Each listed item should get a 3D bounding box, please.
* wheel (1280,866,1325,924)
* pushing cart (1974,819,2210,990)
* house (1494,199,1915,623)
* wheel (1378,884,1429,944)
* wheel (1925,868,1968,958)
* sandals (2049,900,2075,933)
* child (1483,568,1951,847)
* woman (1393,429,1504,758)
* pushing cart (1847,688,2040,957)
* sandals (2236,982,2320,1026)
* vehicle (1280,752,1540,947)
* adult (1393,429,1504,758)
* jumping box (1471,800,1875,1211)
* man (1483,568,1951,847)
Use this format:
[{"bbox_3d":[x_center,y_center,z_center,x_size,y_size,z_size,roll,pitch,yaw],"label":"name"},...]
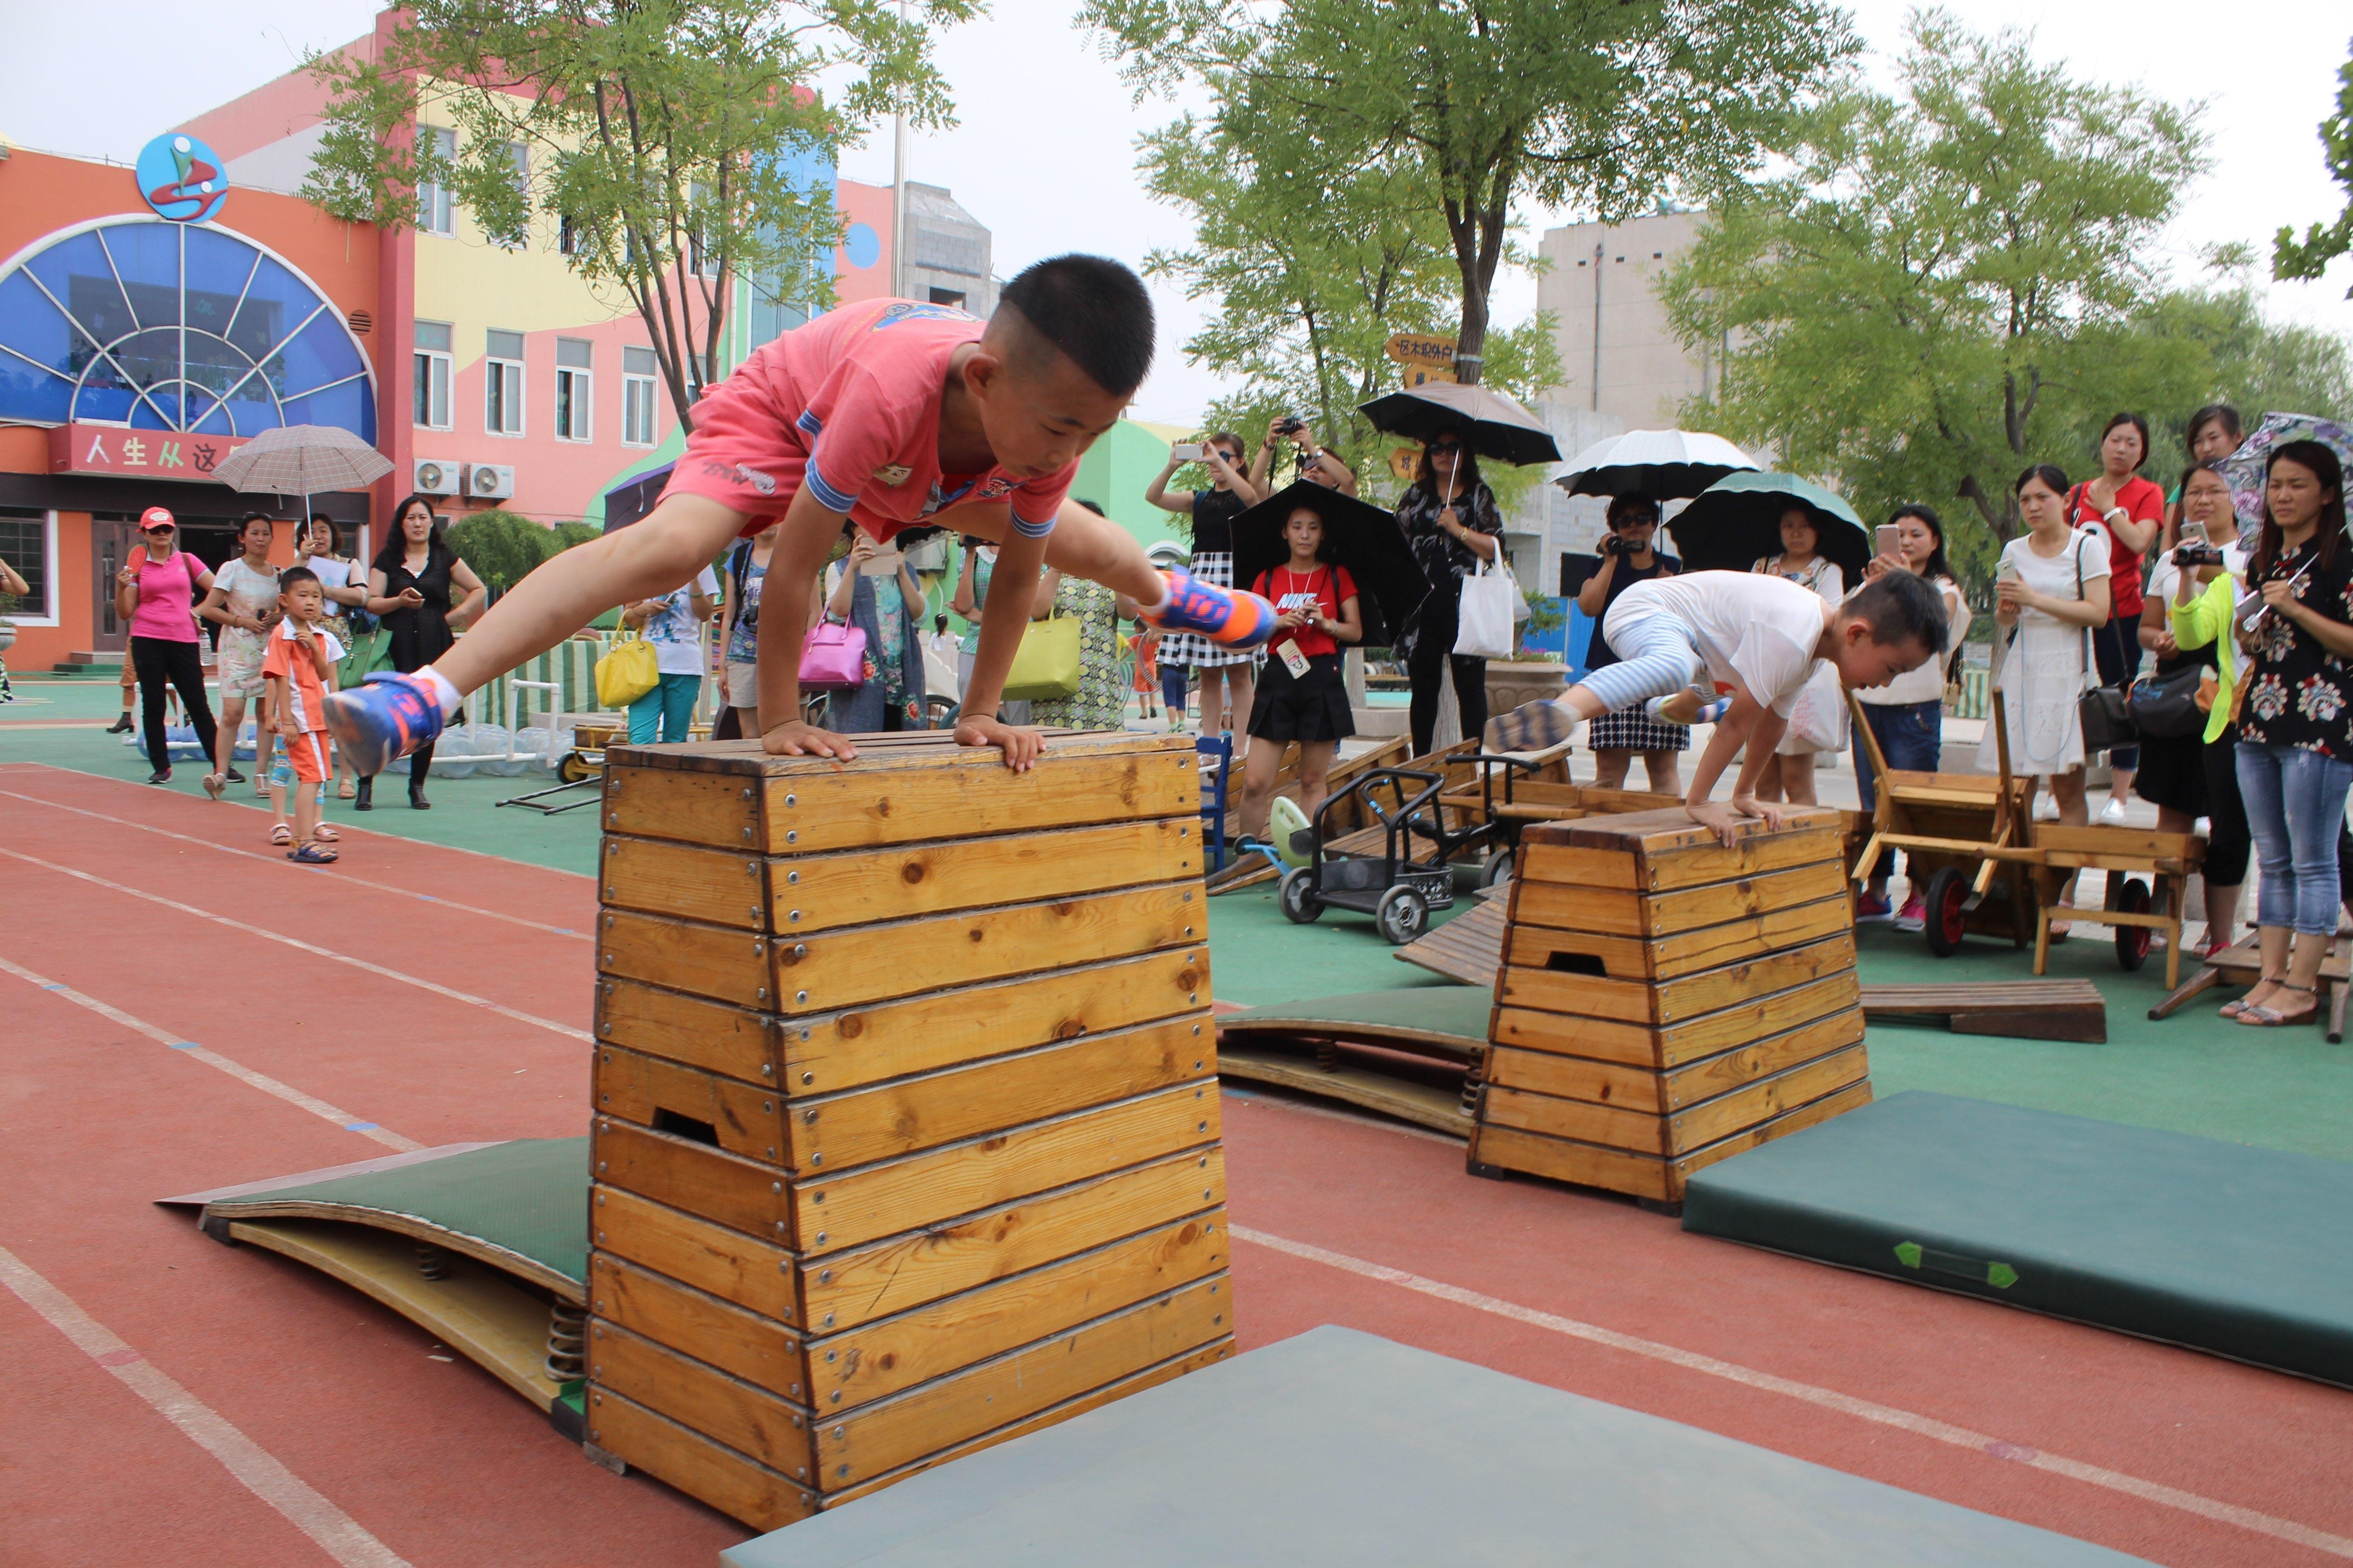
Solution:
[{"bbox_3d":[0.756,0.665,9.549,0.352,0.336,0.144,-1,9,-32],"label":"wheel"},{"bbox_3d":[4.869,0.616,8.421,1.090,0.686,0.781,0,2,18],"label":"pushing cart"},{"bbox_3d":[17.623,-13.433,59.681,7.625,13.866,7.810,0,-23,18],"label":"house"},{"bbox_3d":[1.271,0.733,8.987,0.270,0.261,0.067,-26,16,-26],"label":"wheel"},{"bbox_3d":[4.285,0.709,8.822,0.101,0.361,0.395,31,26,31],"label":"wheel"},{"bbox_3d":[4.949,0.738,8.859,0.081,0.272,0.307,-1,-12,37],"label":"sandals"},{"bbox_3d":[2.277,-0.506,6.409,1.232,0.784,1.800,7,6,31],"label":"child"},{"bbox_3d":[1.838,-1.252,10.926,0.780,2.406,0.774,6,10,19],"label":"woman"},{"bbox_3d":[4.513,0.115,9.131,0.843,1.227,1.503,2,23,41],"label":"pushing cart"},{"bbox_3d":[5.241,1.038,7.540,0.485,0.196,0.160,2,-1,3],"label":"sandals"},{"bbox_3d":[1.542,0.334,9.652,1.662,0.961,0.881,-7,9,-39],"label":"vehicle"},{"bbox_3d":[1.836,-1.253,10.955,0.773,2.387,0.725,2,8,16],"label":"adult"},{"bbox_3d":[1.902,0.703,6.236,1.023,1.227,1.727,5,6,44],"label":"jumping box"},{"bbox_3d":[2.420,-0.335,6.765,1.528,1.051,2.495,3,4,28],"label":"man"}]
